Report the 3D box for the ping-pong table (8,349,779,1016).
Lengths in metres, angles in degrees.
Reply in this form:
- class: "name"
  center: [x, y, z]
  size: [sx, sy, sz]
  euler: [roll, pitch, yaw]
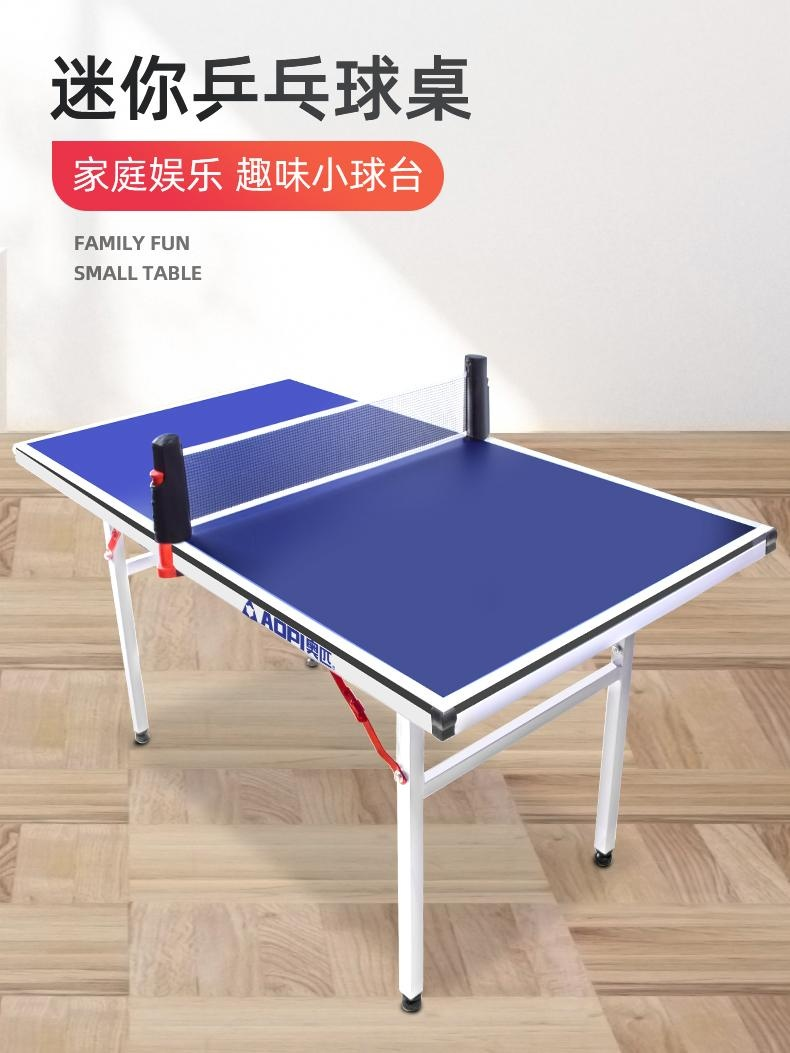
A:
- class: "ping-pong table"
  center: [-0.098, 0.188, 1.957]
  size: [0.811, 0.853, 1.348]
  euler: [-21, 33, -33]
